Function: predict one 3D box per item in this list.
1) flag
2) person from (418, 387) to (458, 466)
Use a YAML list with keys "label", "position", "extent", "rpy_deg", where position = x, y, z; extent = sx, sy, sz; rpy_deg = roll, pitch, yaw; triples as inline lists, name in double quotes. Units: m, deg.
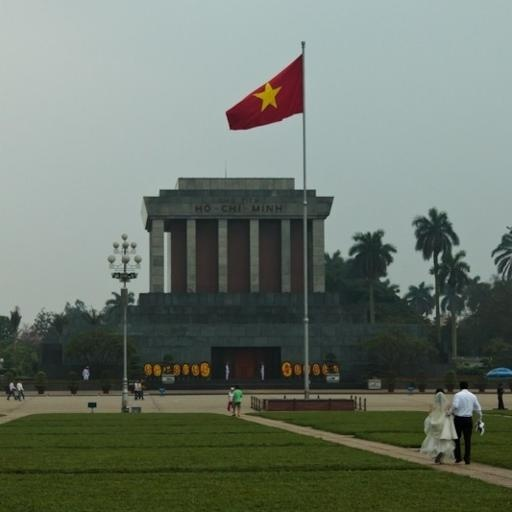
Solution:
- label: "flag"
  position: [0.457, -7.148, 61.479]
  extent: [3.546, 3.744, 1.030]
  rpy_deg: [7, -12, -38]
- label: "person"
  position: [5.959, 5.624, 46.151]
  extent: [1.113, 2.457, 0.900]
  rpy_deg: [-5, -10, 23]
